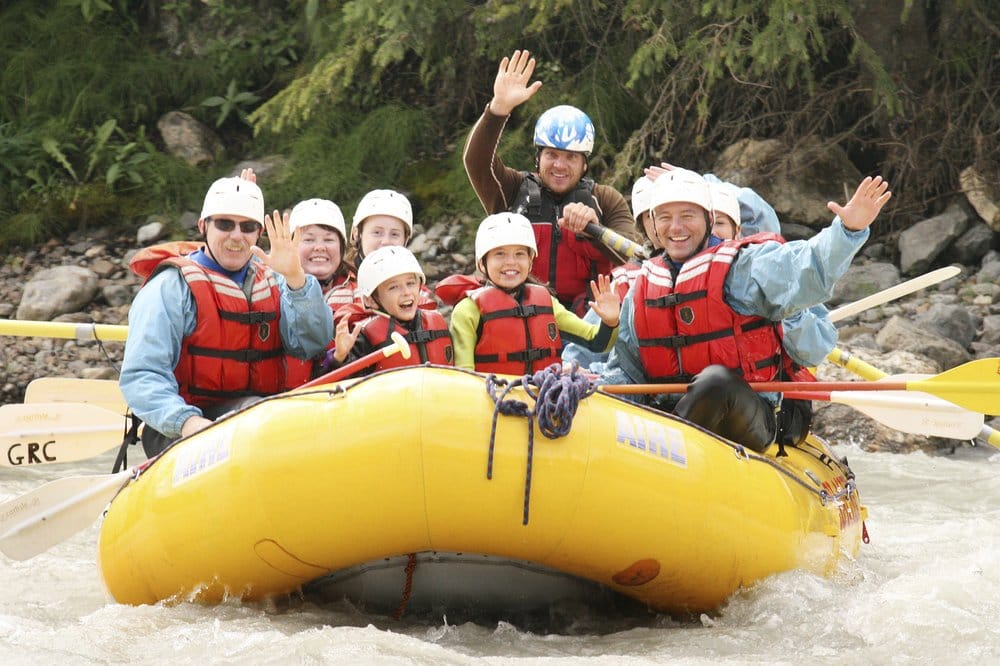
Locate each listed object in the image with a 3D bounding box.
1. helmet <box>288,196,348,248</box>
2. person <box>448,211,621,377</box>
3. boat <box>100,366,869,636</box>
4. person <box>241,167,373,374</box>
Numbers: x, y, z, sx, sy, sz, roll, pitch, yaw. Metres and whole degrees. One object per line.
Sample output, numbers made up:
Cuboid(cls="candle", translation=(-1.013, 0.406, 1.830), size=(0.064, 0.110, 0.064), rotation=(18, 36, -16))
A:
Cuboid(cls="helmet", translation=(-1.273, -0.872, 11.134), size=(0.388, 0.312, 0.661), rotation=(1, -13, -2))
Cuboid(cls="person", translation=(0.291, -0.259, 10.764), size=(0.960, 1.473, 0.747), rotation=(-4, -10, -29))
Cuboid(cls="boat", translation=(-0.099, 1.118, 9.586), size=(3.041, 0.886, 2.183), rotation=(9, -14, -32))
Cuboid(cls="person", translation=(-1.356, -0.520, 10.969), size=(0.997, 1.482, 0.548), rotation=(-6, 9, -18))
